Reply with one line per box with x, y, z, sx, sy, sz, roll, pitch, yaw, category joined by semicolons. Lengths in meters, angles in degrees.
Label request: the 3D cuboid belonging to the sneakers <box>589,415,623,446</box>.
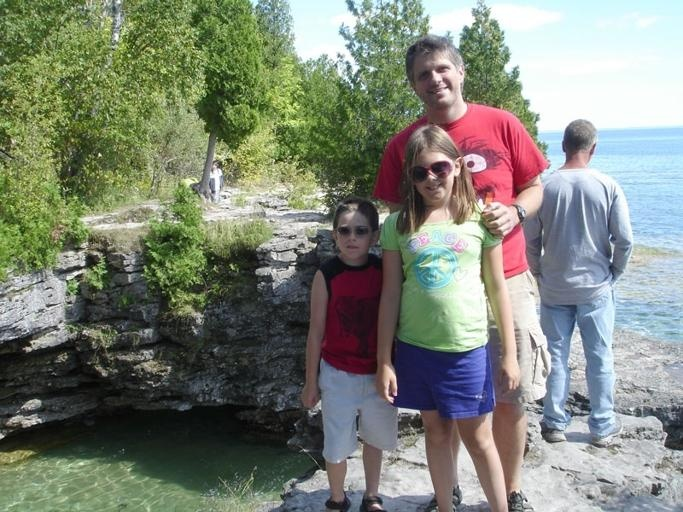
3.159;2.102;6.712;0.194;0.247;0.517;9;39;45;sneakers

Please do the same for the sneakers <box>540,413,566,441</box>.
2.501;2.085;6.746;0.144;0.192;0.406;1;-1;-13;sneakers

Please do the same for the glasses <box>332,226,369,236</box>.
0.111;-0.256;5.561;0.338;0.093;0.081;0;8;-1;glasses

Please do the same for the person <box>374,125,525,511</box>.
0.948;0.570;5.078;1.220;3.477;0.504;2;8;14;person
